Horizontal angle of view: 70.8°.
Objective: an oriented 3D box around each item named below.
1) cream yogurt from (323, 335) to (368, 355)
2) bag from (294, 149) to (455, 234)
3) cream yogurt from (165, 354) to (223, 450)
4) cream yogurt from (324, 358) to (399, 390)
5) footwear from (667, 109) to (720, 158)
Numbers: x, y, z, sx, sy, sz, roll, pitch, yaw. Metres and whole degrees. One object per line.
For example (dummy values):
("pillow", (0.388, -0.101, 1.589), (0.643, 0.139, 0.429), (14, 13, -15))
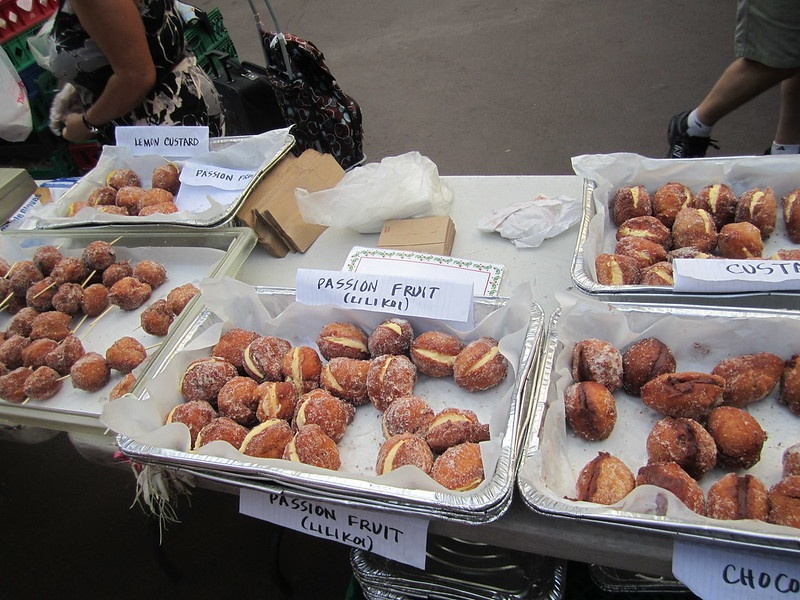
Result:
("cream yogurt", (-0.161, 0.139, 1.734), (0.082, 0.045, 0.067), (15, 0, -8))
("bag", (-0.112, -0.417, 2.233), (0.503, 0.218, 0.339), (-4, 30, 12))
("cream yogurt", (-0.608, 0.296, 1.641), (0.154, 0.065, 0.214), (5, 41, -4))
("cream yogurt", (-0.116, 0.229, 1.678), (0.186, 0.078, 0.107), (-7, 45, 17))
("footwear", (1.546, -0.913, 2.936), (0.434, 0.177, 0.154), (-9, 1, -40))
